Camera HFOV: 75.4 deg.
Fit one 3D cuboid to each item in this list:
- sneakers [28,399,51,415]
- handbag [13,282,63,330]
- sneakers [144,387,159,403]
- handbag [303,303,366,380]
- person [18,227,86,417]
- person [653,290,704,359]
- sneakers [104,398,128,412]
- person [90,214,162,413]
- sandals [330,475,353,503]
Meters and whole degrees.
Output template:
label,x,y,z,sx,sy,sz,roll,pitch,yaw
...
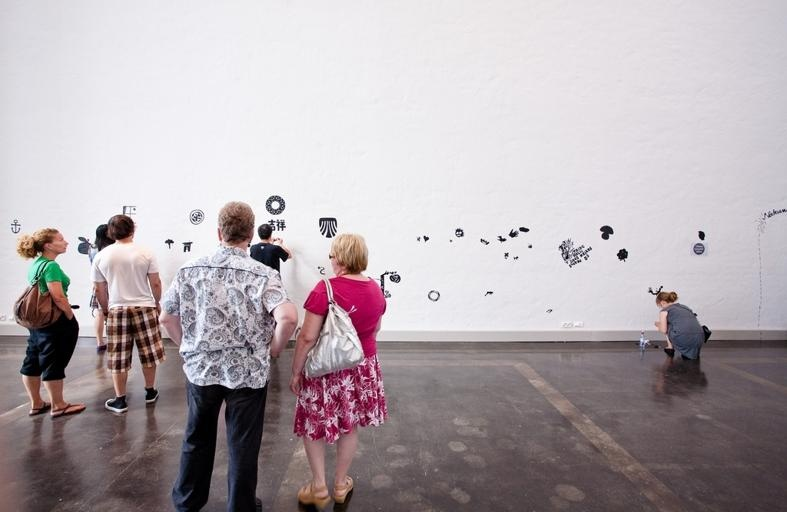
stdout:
label,x,y,z,sx,sy,sz,roll,pitch,yaw
sneakers,-4.366,1.882,6.288,0.125,0.093,0.271,12,15,4
handbag,-4.189,0.610,5.980,0.462,0.583,0.163,0,4,0
sneakers,-3.099,1.801,6.492,0.091,0.120,0.263,0,-6,-5
handbag,-0.610,0.838,5.070,0.632,0.799,0.355,-5,0,16
person,-4.210,0.812,6.270,0.714,2.175,0.652,-11,-8,36
person,4.618,1.185,8.271,0.642,1.060,0.906,-5,8,-13
sneakers,-3.450,1.886,6.345,0.295,0.200,0.139,9,5,42
person,-3.341,0.718,6.483,0.790,2.418,0.564,-4,5,-42
sandals,-0.544,2.491,5.395,0.132,0.216,0.302,1,4,5
